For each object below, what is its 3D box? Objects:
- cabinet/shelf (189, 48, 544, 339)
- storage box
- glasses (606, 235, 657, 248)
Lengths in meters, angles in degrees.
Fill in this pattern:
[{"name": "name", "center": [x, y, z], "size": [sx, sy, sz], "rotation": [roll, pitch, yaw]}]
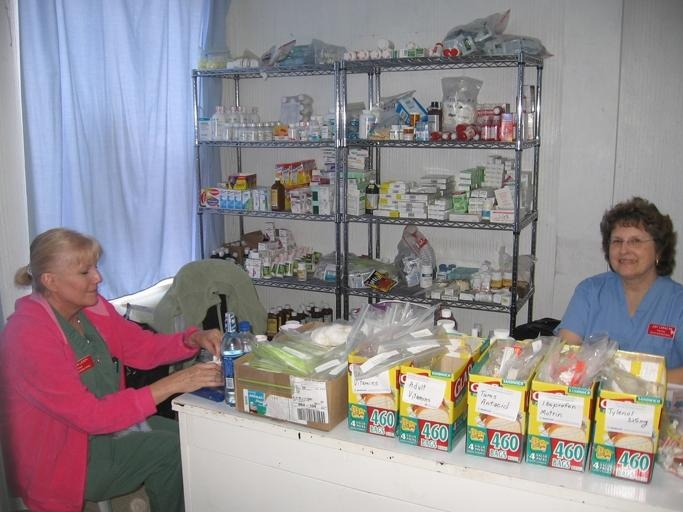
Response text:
[{"name": "cabinet/shelf", "center": [0.221, -0.436, 3.616], "size": [1.835, 1.798, 0.600], "rotation": [5, 12, 25]}, {"name": "storage box", "center": [-0.158, 0.386, 1.829], "size": [0.283, 0.140, 0.285], "rotation": [5, 12, 24]}, {"name": "glasses", "center": [1.202, -0.058, 2.277], "size": [0.157, 0.042, 0.055], "rotation": [4, 10, 33]}]
